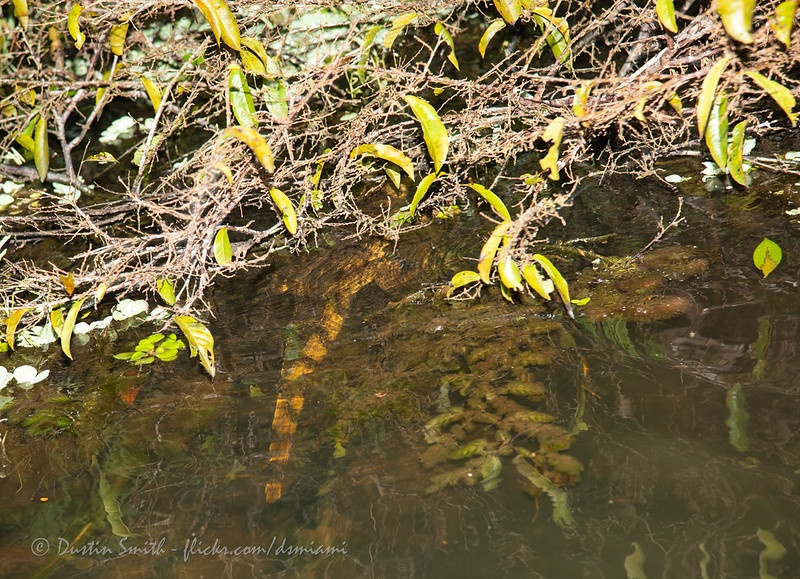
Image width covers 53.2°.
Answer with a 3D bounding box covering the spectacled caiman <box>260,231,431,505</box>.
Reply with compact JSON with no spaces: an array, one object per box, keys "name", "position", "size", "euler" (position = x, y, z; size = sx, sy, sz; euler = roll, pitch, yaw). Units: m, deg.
[{"name":"spectacled caiman","position":[-0.176,0.157,3.548],"size":[0.824,0.081,1.114],"euler":[-9,48,-3]}]
